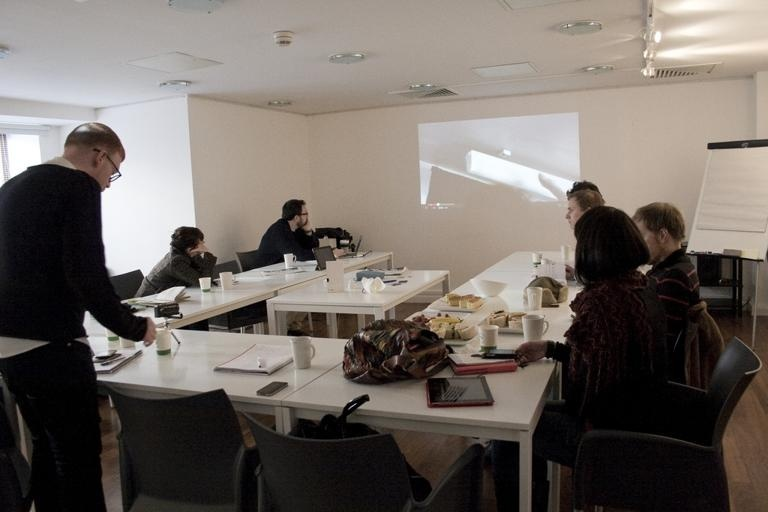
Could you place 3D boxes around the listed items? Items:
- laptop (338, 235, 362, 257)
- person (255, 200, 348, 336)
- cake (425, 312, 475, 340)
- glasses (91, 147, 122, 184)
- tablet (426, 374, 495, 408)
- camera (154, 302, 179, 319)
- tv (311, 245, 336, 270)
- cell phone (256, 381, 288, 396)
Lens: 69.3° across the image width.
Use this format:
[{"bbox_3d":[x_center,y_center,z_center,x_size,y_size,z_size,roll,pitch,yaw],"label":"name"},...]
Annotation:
[{"bbox_3d":[-0.432,-0.103,6.910,0.305,0.198,0.342,1,2,4],"label":"laptop"},{"bbox_3d":[-1.126,0.142,6.535,0.924,1.564,1.035,5,8,16],"label":"person"},{"bbox_3d":[0.361,0.385,3.057,0.185,0.073,0.139,8,12,24],"label":"cake"},{"bbox_3d":[-1.326,-0.440,2.649,0.185,0.173,0.052,1,13,41],"label":"glasses"},{"bbox_3d":[0.329,0.599,2.480,0.280,0.059,0.255,-1,5,0],"label":"tablet"},{"bbox_3d":[-1.464,0.364,3.773,0.122,0.042,0.114,1,8,-6],"label":"camera"},{"bbox_3d":[-0.590,-0.007,5.565,0.232,0.191,0.317,-4,3,21],"label":"tv"},{"bbox_3d":[-0.513,0.609,2.569,0.087,0.032,0.144,2,7,34],"label":"cell phone"}]
